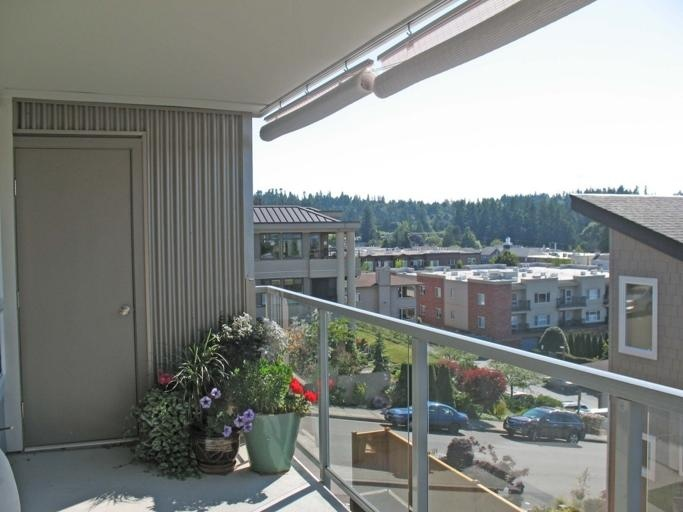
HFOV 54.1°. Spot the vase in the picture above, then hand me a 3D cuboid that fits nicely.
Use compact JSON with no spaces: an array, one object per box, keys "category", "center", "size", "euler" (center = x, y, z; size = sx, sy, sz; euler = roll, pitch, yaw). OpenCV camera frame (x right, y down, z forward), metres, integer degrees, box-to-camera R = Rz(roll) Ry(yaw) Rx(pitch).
[{"category":"vase","center":[-0.707,1.371,5.090],"size":[0.599,0.299,0.506],"euler":[1,-8,-1]}]

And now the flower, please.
[{"category":"flower","center":[-0.791,0.960,5.350],"size":[1.370,0.814,0.758],"euler":[6,2,38]}]
